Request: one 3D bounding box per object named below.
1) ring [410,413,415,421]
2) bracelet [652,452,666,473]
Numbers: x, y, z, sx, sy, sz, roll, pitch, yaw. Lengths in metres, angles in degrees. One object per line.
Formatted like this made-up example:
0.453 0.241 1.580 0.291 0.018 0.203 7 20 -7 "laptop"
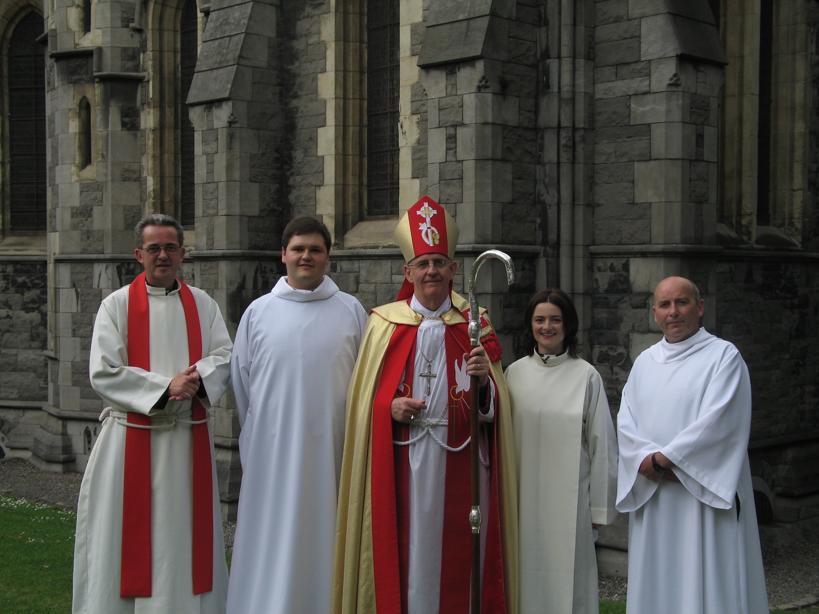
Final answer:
0.017 0.858 12.500 0.046 0.042 0.011 -1 8 -45 "ring"
1.915 1.204 12.397 0.104 0.133 0.134 10 7 -38 "bracelet"
